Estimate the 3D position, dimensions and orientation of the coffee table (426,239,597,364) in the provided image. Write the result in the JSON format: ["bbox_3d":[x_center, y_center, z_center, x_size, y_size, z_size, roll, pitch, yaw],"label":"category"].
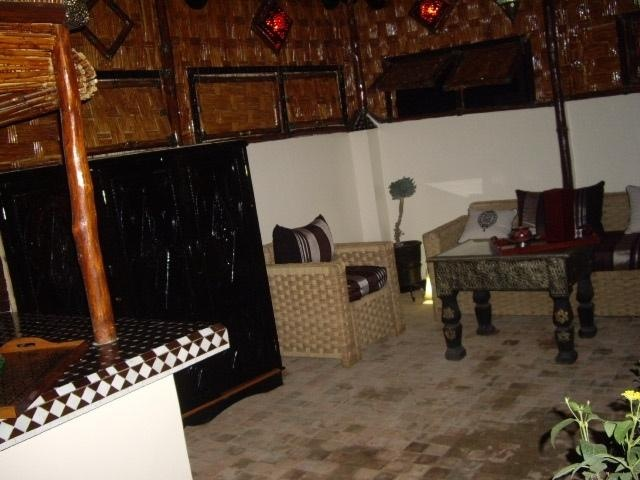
[{"bbox_3d":[1.728,0.487,3.983,1.281,0.963,0.826,-4,9,32],"label":"coffee table"}]

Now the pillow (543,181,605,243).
[{"bbox_3d":[2.445,-0.261,4.335,0.424,0.590,1.264,-3,9,36],"label":"pillow"}]

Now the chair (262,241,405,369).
[{"bbox_3d":[0.159,0.605,4.709,1.424,0.837,1.433,-13,6,-19],"label":"chair"}]

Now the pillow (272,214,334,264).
[{"bbox_3d":[-0.124,0.052,4.645,0.343,0.474,0.661,-11,3,42],"label":"pillow"}]
